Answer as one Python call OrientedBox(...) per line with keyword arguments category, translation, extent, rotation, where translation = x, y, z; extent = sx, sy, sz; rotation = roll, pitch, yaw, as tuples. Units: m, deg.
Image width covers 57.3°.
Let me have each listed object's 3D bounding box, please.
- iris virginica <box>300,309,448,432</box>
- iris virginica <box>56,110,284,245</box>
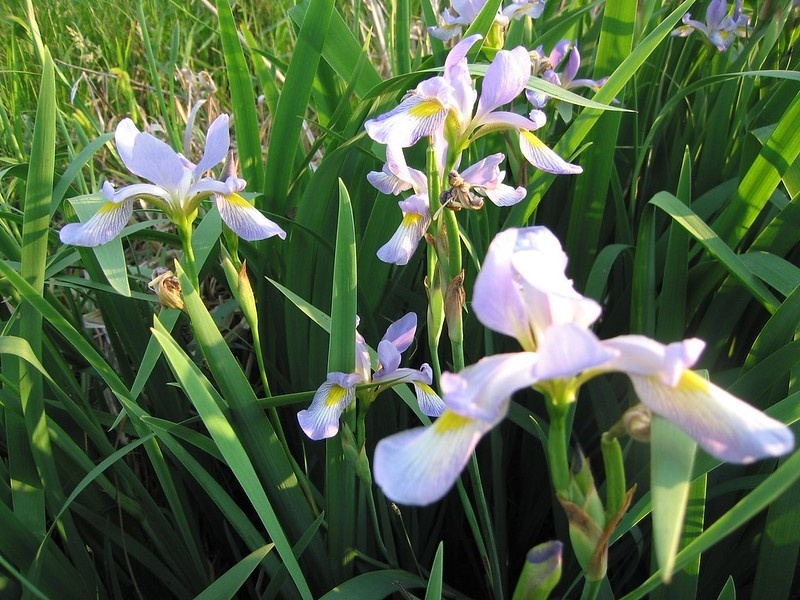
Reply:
OrientedBox(category="iris virginica", translation=(-0.086, 0.236, 1.976), extent=(0.293, 0.404, 0.139), rotation=(25, -1, 39))
OrientedBox(category="iris virginica", translation=(-0.639, -0.323, 2.050), extent=(0.572, 0.433, 0.738), rotation=(0, 18, -14))
